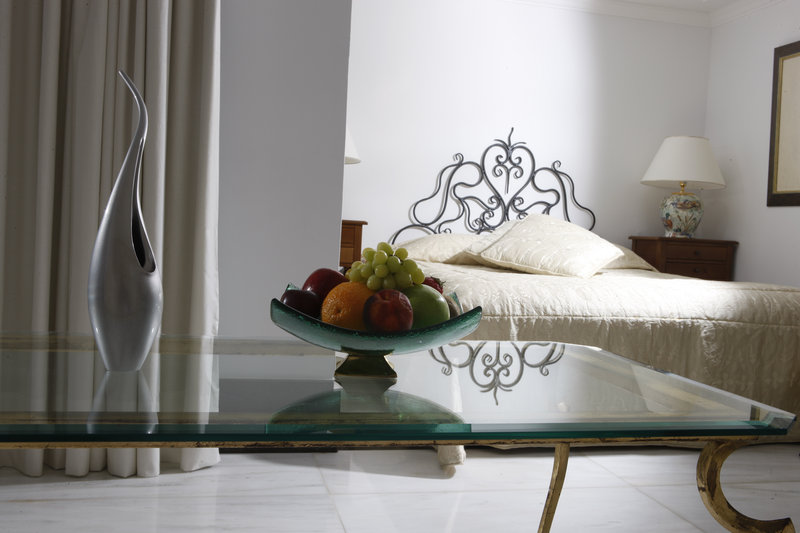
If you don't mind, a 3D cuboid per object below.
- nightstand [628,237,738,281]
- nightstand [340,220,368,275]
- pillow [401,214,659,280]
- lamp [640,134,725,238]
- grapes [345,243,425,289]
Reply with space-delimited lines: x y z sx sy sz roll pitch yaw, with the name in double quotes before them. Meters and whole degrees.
"nightstand" 1.902 -0.034 5.074 0.597 0.313 0.380 1 2 -17
"nightstand" -0.310 -0.121 4.523 0.213 0.254 0.209 -3 13 -18
"pillow" 0.653 -0.195 4.590 1.096 0.454 1.597 3 0 6
"lamp" 1.942 -0.524 5.115 0.562 0.680 0.570 2 1 -3
"grapes" -0.045 -0.015 2.302 0.200 0.145 0.165 0 6 -1
